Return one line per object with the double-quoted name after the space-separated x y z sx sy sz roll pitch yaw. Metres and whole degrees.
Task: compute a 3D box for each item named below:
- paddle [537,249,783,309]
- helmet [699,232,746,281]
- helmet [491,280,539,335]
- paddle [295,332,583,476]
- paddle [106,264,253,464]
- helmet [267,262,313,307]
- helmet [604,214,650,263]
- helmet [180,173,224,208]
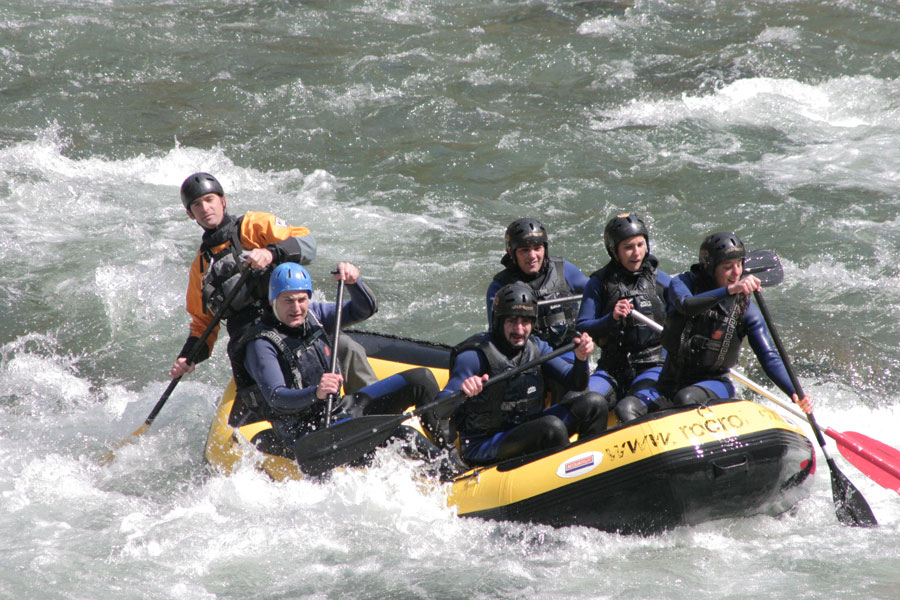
2.551 -0.217 17.084 2.773 0.341 0.842 -3 46 -38 "paddle"
3.170 -0.475 16.421 0.606 0.523 0.498 14 22 36 "helmet"
0.697 0.100 16.214 0.489 0.543 0.526 6 21 -2 "helmet"
-0.099 1.263 16.432 4.279 0.547 0.272 -19 10 -5 "paddle"
-3.492 0.937 18.366 0.470 3.033 0.244 42 7 40 "paddle"
-1.864 -0.179 16.298 0.400 0.389 0.492 0 27 -19 "helmet"
2.150 -0.749 17.091 0.482 0.515 0.577 -18 6 -9 "helmet"
-3.097 -1.346 17.510 0.402 0.511 0.390 -20 63 -8 "helmet"
